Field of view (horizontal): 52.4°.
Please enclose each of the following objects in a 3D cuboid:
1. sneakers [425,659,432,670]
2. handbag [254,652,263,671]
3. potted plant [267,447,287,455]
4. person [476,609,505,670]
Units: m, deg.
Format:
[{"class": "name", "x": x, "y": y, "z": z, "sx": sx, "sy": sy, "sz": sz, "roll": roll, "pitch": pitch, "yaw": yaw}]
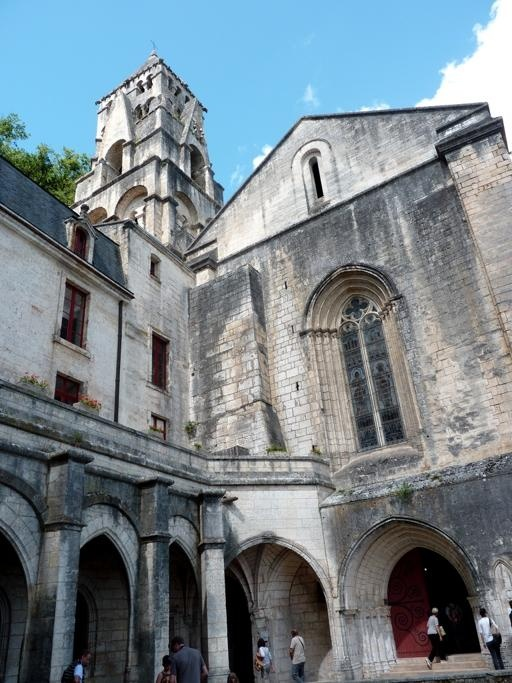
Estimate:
[{"class": "sneakers", "x": 3.776, "y": 7.011, "z": 11.285, "sx": 0.084, "sy": 0.197, "sz": 0.065, "roll": -8, "pitch": -47, "yaw": -14}, {"class": "handbag", "x": 0.079, "y": 6.479, "z": 10.464, "sx": 0.130, "sy": 0.315, "sz": 0.182, "roll": -11, "pitch": -28, "yaw": 4}, {"class": "potted plant", "x": 0.556, "y": 3.105, "z": 14.645, "sx": 0.282, "sy": 0.092, "sz": 0.278, "roll": 11, "pitch": -28, "yaw": -22}, {"class": "person", "x": 4.348, "y": 5.470, "z": 9.573, "sx": 0.346, "sy": 0.982, "sz": 0.758, "roll": -17, "pitch": -30, "yaw": 16}]
